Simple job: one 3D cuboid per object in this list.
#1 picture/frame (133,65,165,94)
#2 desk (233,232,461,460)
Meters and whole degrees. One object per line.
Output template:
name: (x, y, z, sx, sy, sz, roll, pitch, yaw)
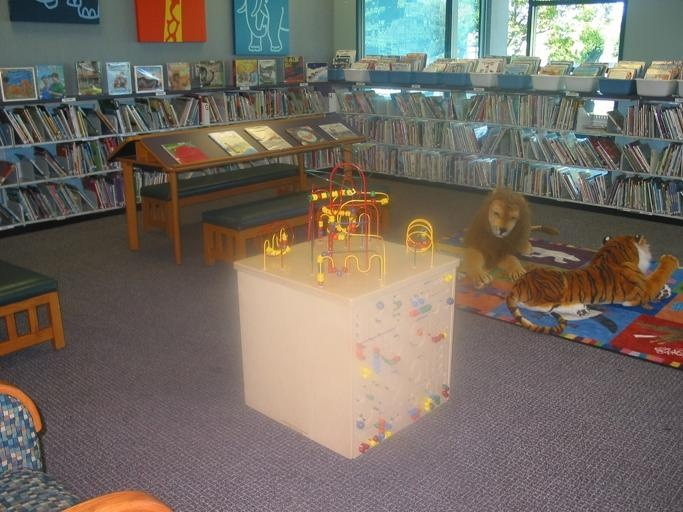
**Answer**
picture/frame: (-2.460, -2.269, 6.341, 0.037, 0.336, 0.398, 12, 24, 38)
desk: (0.028, 0.489, 2.885, 1.042, 0.977, 1.056, 16, 27, 36)
